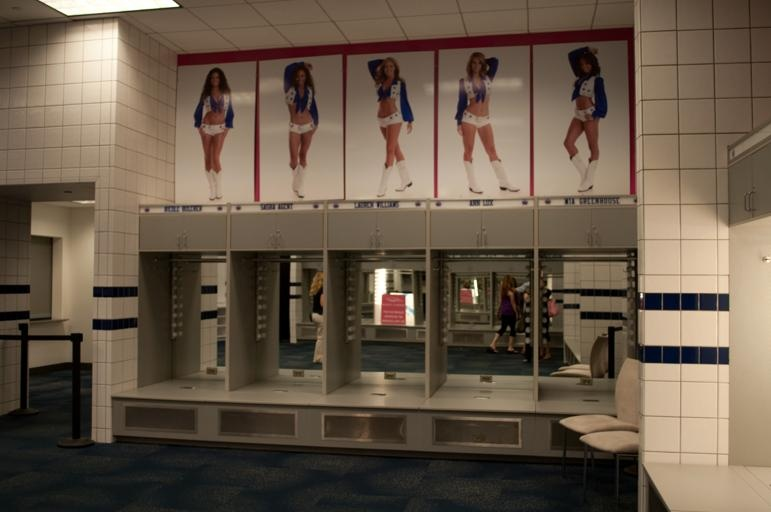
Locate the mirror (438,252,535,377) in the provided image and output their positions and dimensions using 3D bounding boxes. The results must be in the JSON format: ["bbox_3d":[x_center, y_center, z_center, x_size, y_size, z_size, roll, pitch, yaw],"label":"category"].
[{"bbox_3d":[1.402,0.759,9.750,1.664,2.393,0.896,0,-1,6],"label":"mirror"}]

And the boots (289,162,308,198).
[{"bbox_3d":[-1.199,-1.075,9.935,0.162,0.475,0.335,-3,4,-4],"label":"boots"}]

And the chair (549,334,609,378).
[{"bbox_3d":[2.730,1.380,9.747,0.809,0.623,0.819,1,-2,24],"label":"chair"}]

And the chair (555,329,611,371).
[{"bbox_3d":[2.736,1.362,9.699,0.799,0.611,0.630,-1,1,37],"label":"chair"}]

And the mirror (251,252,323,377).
[{"bbox_3d":[-1.492,0.879,10.828,0.981,2.032,2.090,-1,8,-7],"label":"mirror"}]

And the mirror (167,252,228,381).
[{"bbox_3d":[-2.797,0.876,10.361,0.816,1.770,0.429,-3,7,-18],"label":"mirror"}]

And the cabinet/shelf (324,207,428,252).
[{"bbox_3d":[-0.117,-0.337,9.177,1.298,0.522,0.304,0,-5,-2],"label":"cabinet/shelf"}]

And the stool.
[{"bbox_3d":[2.524,2.239,7.493,0.582,0.612,0.686,-1,-4,-16],"label":"stool"}]

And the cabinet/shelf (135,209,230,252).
[{"bbox_3d":[-2.779,-0.334,9.507,1.293,0.536,0.141,2,7,13],"label":"cabinet/shelf"}]

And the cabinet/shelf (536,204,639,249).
[{"bbox_3d":[2.512,-0.370,8.647,1.170,0.517,0.198,0,7,3],"label":"cabinet/shelf"}]

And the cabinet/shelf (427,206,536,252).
[{"bbox_3d":[1.248,-0.451,9.019,1.291,0.590,0.437,0,25,7],"label":"cabinet/shelf"}]

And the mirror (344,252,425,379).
[{"bbox_3d":[0.170,0.893,10.279,0.797,1.460,0.446,-2,-42,0],"label":"mirror"}]
